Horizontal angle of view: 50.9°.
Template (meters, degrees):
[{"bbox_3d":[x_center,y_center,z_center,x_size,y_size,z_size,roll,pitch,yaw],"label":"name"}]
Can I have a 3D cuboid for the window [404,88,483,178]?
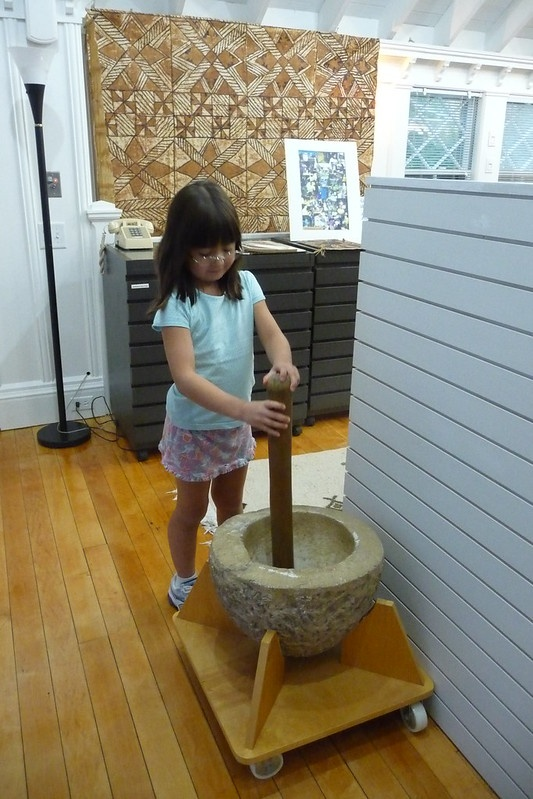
[{"bbox_3d":[1.382,-2.069,4.401,0.739,0.598,0.181,-12,18,-35],"label":"window"}]

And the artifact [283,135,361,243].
[{"bbox_3d":[0.340,-1.224,3.297,0.509,0.562,0.159,-9,16,-25],"label":"artifact"}]

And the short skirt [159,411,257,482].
[{"bbox_3d":[-0.145,0.064,1.461,0.246,0.177,0.160,-5,13,-25],"label":"short skirt"}]

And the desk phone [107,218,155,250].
[{"bbox_3d":[-0.647,-0.805,2.696,0.232,0.146,0.214,-13,38,-28],"label":"desk phone"}]

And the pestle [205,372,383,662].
[{"bbox_3d":[0.032,0.286,1.168,0.287,0.482,0.293,16,18,29],"label":"pestle"}]

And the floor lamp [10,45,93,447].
[{"bbox_3d":[-1.073,-0.649,2.747,0.279,1.847,0.517,-11,17,-32],"label":"floor lamp"}]

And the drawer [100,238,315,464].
[{"bbox_3d":[-0.238,-0.193,3.034,0.955,0.996,0.576,-6,-21,3],"label":"drawer"}]
